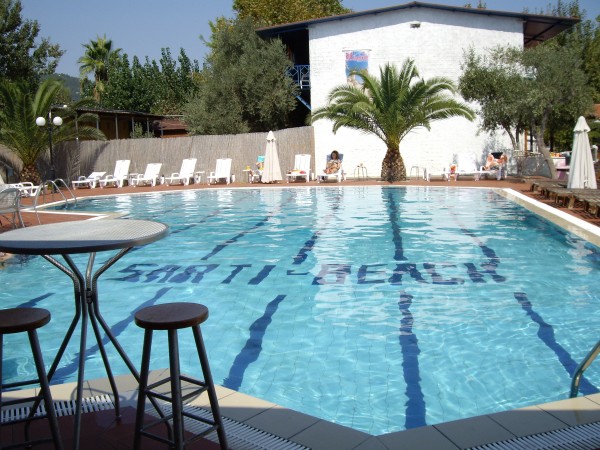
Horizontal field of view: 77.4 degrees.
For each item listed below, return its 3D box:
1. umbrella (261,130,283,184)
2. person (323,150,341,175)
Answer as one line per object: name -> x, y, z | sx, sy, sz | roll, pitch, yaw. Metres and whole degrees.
umbrella -> -1.604, -3.781, 20.947 | 1.073, 2.946, 1.292 | -2, 6, -4
person -> 1.763, -3.320, 20.129 | 0.883, 1.257, 0.681 | -1, 6, 4
